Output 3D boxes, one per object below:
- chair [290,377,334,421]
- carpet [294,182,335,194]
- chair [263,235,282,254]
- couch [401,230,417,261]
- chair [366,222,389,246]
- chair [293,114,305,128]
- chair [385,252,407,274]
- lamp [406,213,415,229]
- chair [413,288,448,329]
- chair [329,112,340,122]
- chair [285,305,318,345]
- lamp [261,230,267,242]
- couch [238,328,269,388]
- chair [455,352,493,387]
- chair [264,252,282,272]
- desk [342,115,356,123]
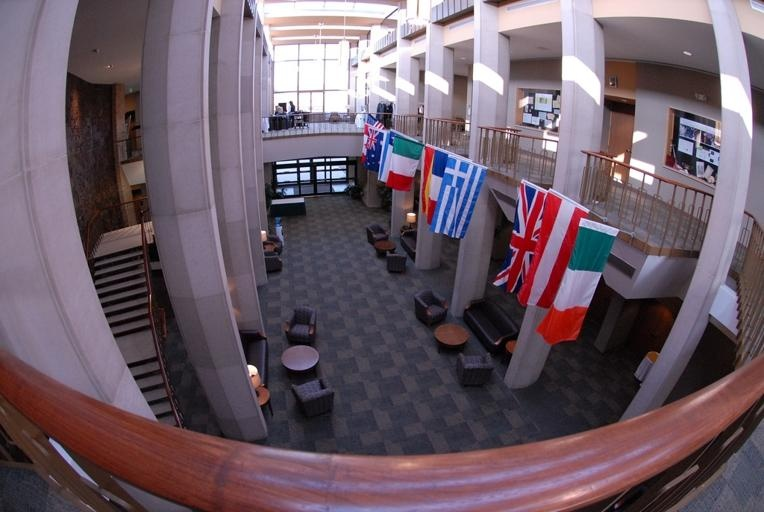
[{"bbox_3d":[-1.323,2.686,9.105,0.679,0.606,0.699,-8,35,-28],"label":"chair"},{"bbox_3d":[-3.263,-3.367,24.061,0.947,0.264,1.057,-3,23,-23],"label":"carpet"},{"bbox_3d":[-3.568,-0.317,15.738,0.548,0.525,0.576,-2,54,-22],"label":"chair"},{"bbox_3d":[0.889,-0.311,16.202,0.308,0.389,1.003,2,37,-8],"label":"couch"},{"bbox_3d":[-0.119,-0.803,17.074,0.597,0.853,0.791,-13,28,-35],"label":"chair"},{"bbox_3d":[-3.532,-5.788,20.484,0.457,0.405,1.127,-1,22,-9],"label":"chair"},{"bbox_3d":[0.415,0.147,14.775,0.546,0.609,0.589,3,28,3],"label":"chair"},{"bbox_3d":[1.013,-1.276,17.480,0.351,0.542,0.360,21,35,33],"label":"lamp"},{"bbox_3d":[1.240,1.287,12.201,0.799,0.900,0.835,-15,30,-37],"label":"chair"},{"bbox_3d":[-2.123,-6.262,21.518,0.355,0.372,0.377,5,13,5],"label":"chair"},{"bbox_3d":[-1.877,1.650,11.330,0.670,0.823,0.767,4,21,5],"label":"chair"},{"bbox_3d":[-3.719,-0.626,15.158,0.182,0.327,0.339,-2,18,-9],"label":"lamp"},{"bbox_3d":[-2.487,2.014,9.287,0.469,0.551,1.396,-10,43,-12],"label":"couch"},{"bbox_3d":[1.899,2.226,9.932,0.609,0.626,0.666,2,39,4],"label":"chair"},{"bbox_3d":[-3.364,0.176,14.927,0.510,0.538,0.491,-4,19,-23],"label":"chair"},{"bbox_3d":[-1.491,-6.170,21.419,0.566,0.354,0.355,3,21,2],"label":"desk"}]
